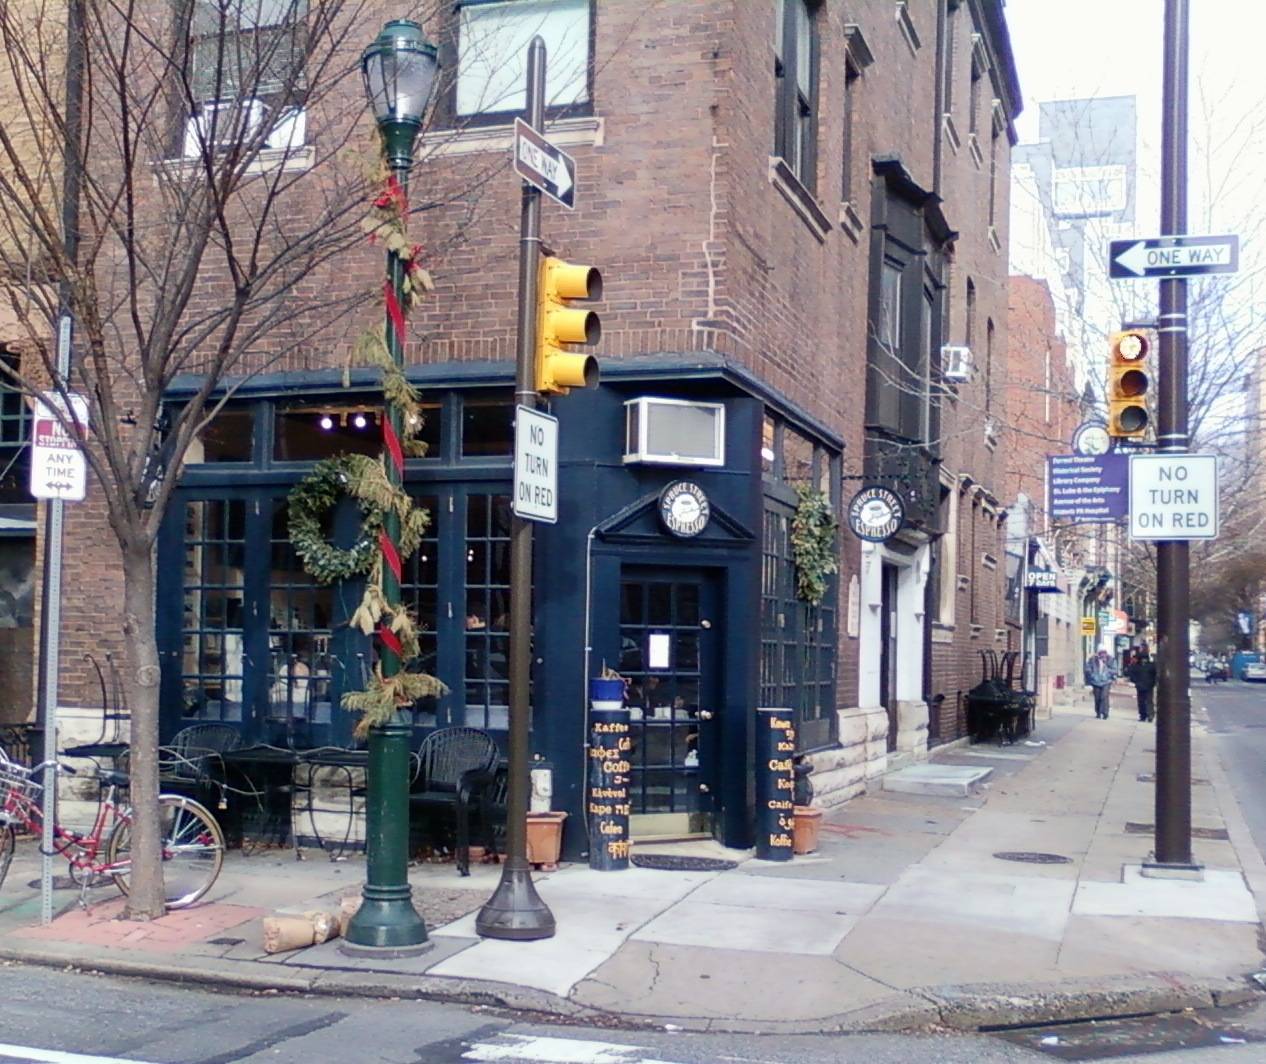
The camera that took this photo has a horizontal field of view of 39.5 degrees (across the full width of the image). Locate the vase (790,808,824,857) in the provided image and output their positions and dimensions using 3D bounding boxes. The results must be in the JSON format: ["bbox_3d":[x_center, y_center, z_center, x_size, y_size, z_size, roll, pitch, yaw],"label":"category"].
[{"bbox_3d":[1.595,2.735,16.083,0.305,0.315,0.336,1,-9,-7],"label":"vase"}]

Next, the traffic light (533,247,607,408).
[{"bbox_3d":[-0.469,-1.503,12.646,0.459,1.016,0.397,1,3,-4],"label":"traffic light"}]

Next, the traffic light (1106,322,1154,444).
[{"bbox_3d":[4.415,-1.330,15.637,0.360,0.938,0.358,2,3,17],"label":"traffic light"}]

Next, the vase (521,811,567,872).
[{"bbox_3d":[-0.731,2.585,14.875,0.523,0.518,0.496,1,-7,-1],"label":"vase"}]
